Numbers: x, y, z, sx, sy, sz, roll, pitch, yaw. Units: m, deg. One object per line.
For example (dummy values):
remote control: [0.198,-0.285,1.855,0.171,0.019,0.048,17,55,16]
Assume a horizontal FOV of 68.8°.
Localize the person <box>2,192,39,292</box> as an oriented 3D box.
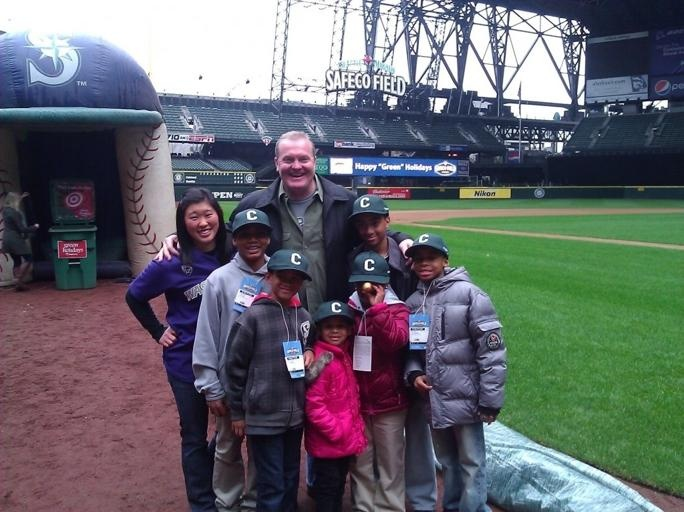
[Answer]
person: [-5.971,-0.245,9.209,0.515,1.822,0.851,-7,11,-33]
